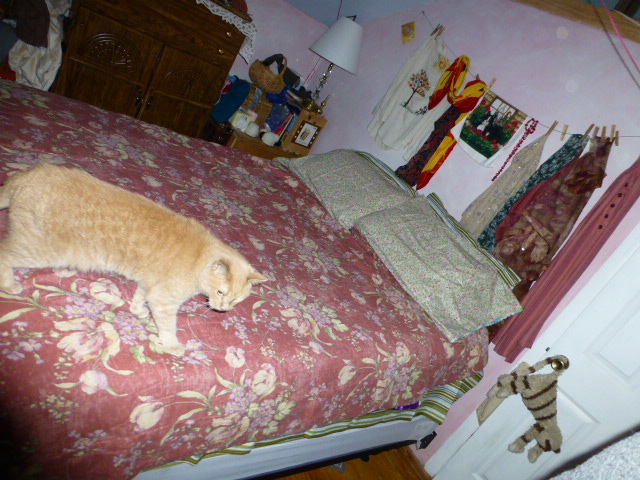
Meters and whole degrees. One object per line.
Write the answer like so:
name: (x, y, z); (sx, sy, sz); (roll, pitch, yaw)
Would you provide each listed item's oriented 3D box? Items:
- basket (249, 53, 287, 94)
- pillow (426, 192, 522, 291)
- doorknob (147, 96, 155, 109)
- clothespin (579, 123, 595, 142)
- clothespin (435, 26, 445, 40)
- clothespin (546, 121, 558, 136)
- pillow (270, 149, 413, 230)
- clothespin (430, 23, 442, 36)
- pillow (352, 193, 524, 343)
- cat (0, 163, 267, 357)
basket: (-0.537, -1.611, 4.317); (0.409, 0.389, 0.287); (-15, 49, -35)
pillow: (0.993, -0.027, 2.956); (1.030, 0.252, 0.054); (60, 7, 31)
doorknob: (-1.490, -1.208, 3.846); (0.055, 0.088, 0.021); (9, 21, -31)
clothespin: (1.739, -0.694, 2.838); (0.027, 0.135, 0.046); (36, 18, 15)
clothespin: (1.014, -1.728, 3.670); (0.036, 0.133, 0.020); (34, 7, -42)
clothespin: (1.594, -0.762, 3.007); (0.006, 0.124, 0.032); (22, 25, -24)
pillow: (0.147, -0.440, 3.153); (0.669, 0.197, 0.739); (-24, 60, -33)
clothespin: (0.984, -1.756, 3.688); (0.035, 0.130, 0.022); (37, 0, 2)
pillow: (0.697, 0.138, 2.621); (0.631, 0.140, 0.960); (-21, 56, -18)
cat: (-0.717, 0.097, 1.634); (0.942, 0.488, 0.253); (32, 24, -29)
